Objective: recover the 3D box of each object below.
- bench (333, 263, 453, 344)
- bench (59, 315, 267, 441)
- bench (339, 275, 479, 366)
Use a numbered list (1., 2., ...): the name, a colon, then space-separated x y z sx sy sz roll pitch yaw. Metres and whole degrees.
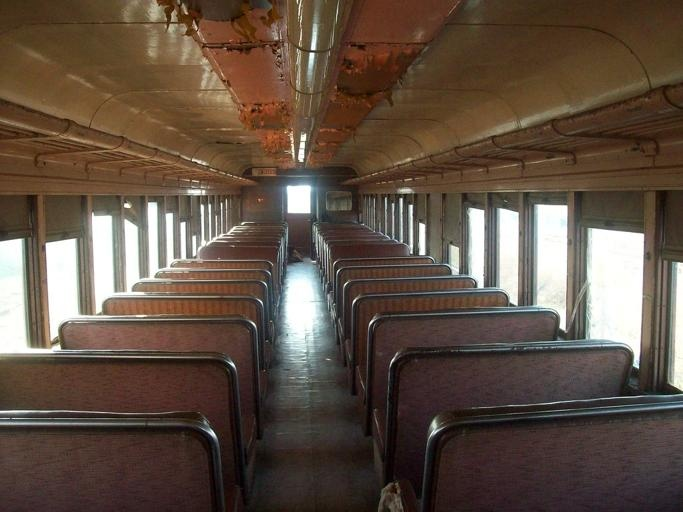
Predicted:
1. bench: 0.585 0.560 6.511 1.315 0.760 0.519 -3 15 -11
2. bench: -1.415 0.896 4.175 1.307 0.781 0.464 1 11 0
3. bench: 0.674 0.663 5.672 1.299 0.767 0.608 -2 14 -10
